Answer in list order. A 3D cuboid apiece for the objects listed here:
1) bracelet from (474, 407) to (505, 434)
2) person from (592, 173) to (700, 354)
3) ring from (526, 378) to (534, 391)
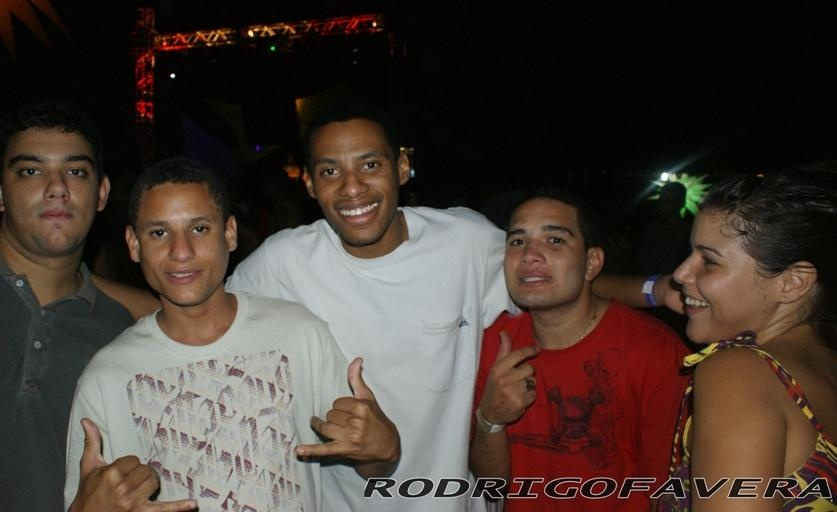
[{"bbox_3d":[0.565,1.310,5.819,0.228,0.077,0.194,7,38,-3],"label":"bracelet"},{"bbox_3d":[2.127,0.091,6.843,0.865,0.867,2.080,14,43,8],"label":"person"},{"bbox_3d":[0.891,1.030,5.780,0.081,0.067,0.025,-7,-15,21],"label":"ring"}]
